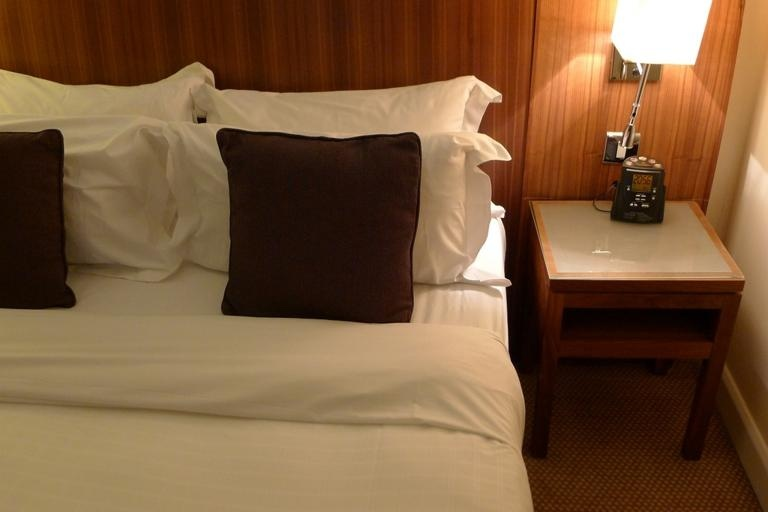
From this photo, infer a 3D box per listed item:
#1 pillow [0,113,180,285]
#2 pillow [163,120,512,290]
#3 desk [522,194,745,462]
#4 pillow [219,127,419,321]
[{"bbox_3d":[-0.947,-0.210,2.155,0.539,0.644,0.184,4,7,-8],"label":"pillow"},{"bbox_3d":[-0.268,-0.149,2.167,1.111,0.652,0.348,3,18,6],"label":"pillow"},{"bbox_3d":[0.916,0.275,2.399,0.790,0.695,0.784,13,29,32],"label":"desk"},{"bbox_3d":[-0.197,-0.088,1.893,0.522,0.520,0.186,3,-2,9],"label":"pillow"}]
